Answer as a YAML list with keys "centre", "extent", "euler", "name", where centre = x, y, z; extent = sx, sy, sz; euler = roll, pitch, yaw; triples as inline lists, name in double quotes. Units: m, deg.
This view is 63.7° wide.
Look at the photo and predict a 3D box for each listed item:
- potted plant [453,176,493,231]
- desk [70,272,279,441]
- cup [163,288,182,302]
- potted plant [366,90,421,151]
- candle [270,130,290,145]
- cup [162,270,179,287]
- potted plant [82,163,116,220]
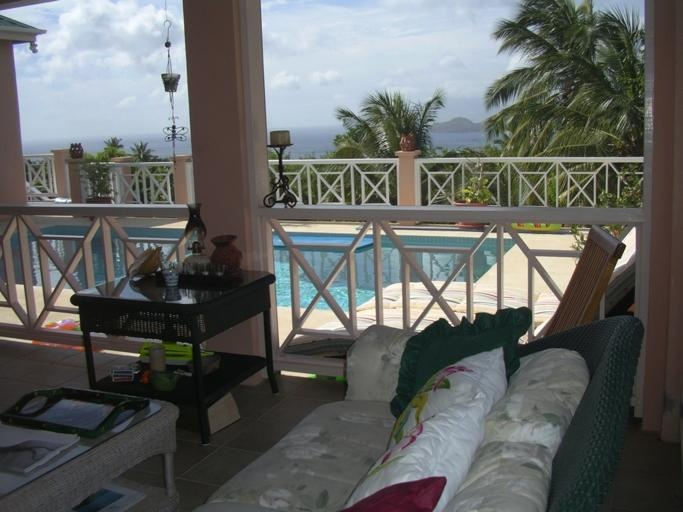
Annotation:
- centre: [2.356, -0.983, 9.856]
  extent: [0.699, 0.960, 0.730]
  euler: [10, 13, 35]
  name: "potted plant"
- centre: [-0.844, 0.269, 2.777]
  extent: [0.870, 0.762, 0.836]
  euler: [3, 11, 23]
  name: "desk"
- centre: [-0.769, 0.180, 2.524]
  extent: [0.065, 0.060, 0.064]
  euler: [1, 5, 0]
  name: "cup"
- centre: [1.163, -3.112, 12.818]
  extent: [1.270, 1.438, 0.635]
  euler: [-1, 14, 2]
  name: "potted plant"
- centre: [-0.337, -0.662, 3.075]
  extent: [0.095, 0.069, 0.097]
  euler: [8, 21, 24]
  name: "candle"
- centre: [-0.817, 0.104, 2.611]
  extent: [0.078, 0.064, 0.073]
  euler: [1, 10, 0]
  name: "cup"
- centre: [-3.828, -1.141, 8.705]
  extent: [0.449, 0.656, 2.884]
  euler: [-8, 15, -22]
  name: "potted plant"
